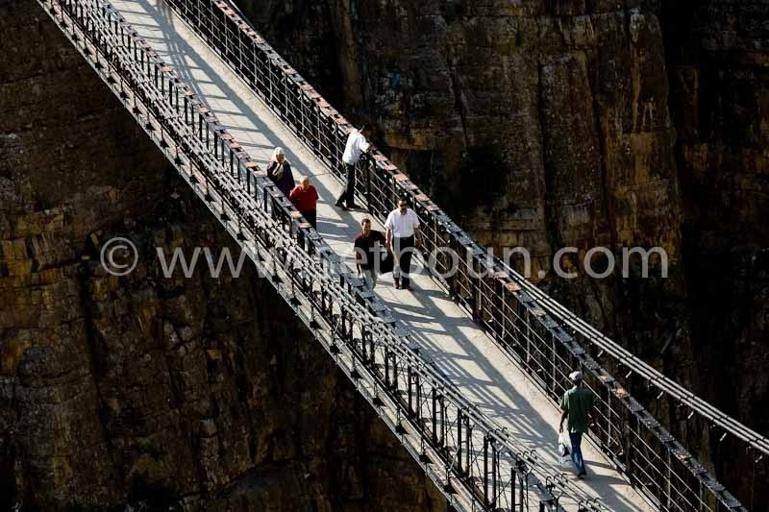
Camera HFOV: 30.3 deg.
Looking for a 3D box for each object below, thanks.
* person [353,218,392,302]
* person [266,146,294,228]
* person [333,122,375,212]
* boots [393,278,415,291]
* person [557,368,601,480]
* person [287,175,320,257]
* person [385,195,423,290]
[{"bbox_3d":[-0.367,0.183,37.984,0.777,2.458,1.140,-9,24,-13],"label":"person"},{"bbox_3d":[-2.809,-2.005,39.395,0.666,1.972,0.531,-5,19,-18],"label":"person"},{"bbox_3d":[-0.792,-2.582,39.855,0.877,2.547,0.910,7,-10,16],"label":"person"},{"bbox_3d":[0.534,0.746,38.272,0.570,0.583,0.238,-2,14,-8],"label":"boots"},{"bbox_3d":[4.843,4.127,35.706,0.692,2.625,1.104,1,14,13],"label":"person"},{"bbox_3d":[-2.154,-1.107,38.625,0.602,2.176,0.643,1,-7,0],"label":"person"},{"bbox_3d":[0.510,-0.345,38.037,0.755,2.594,0.706,-2,22,-5],"label":"person"}]
